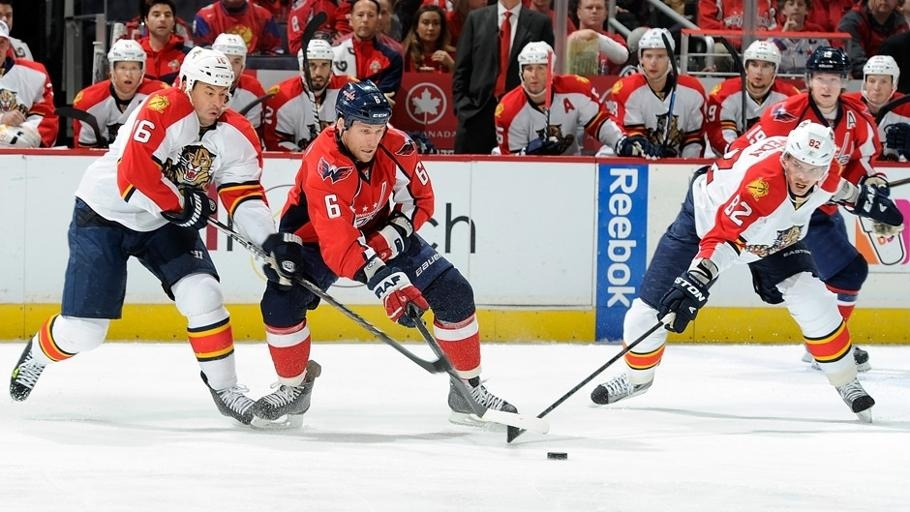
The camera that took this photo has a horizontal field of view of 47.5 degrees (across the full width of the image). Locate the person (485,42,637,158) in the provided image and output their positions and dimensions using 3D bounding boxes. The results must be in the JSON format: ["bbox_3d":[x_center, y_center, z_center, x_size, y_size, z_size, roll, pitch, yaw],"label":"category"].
[{"bbox_3d":[0.836,-1.355,8.965,0.786,0.841,1.316,-20,35,-22],"label":"person"}]

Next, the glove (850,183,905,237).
[{"bbox_3d":[3.122,-0.349,7.640,0.435,0.365,0.183,16,-3,2],"label":"glove"}]

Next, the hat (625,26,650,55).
[{"bbox_3d":[1.665,-1.955,9.474,0.238,0.237,0.190,-5,10,21],"label":"hat"}]

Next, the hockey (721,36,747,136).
[{"bbox_3d":[2.396,-1.526,8.990,0.263,0.897,0.124,5,-20,-6],"label":"hockey"}]

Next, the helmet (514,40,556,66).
[{"bbox_3d":[0.678,-1.702,8.795,0.199,0.233,0.207,4,7,14],"label":"helmet"}]

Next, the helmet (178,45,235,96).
[{"bbox_3d":[-1.644,-1.201,6.783,0.340,0.331,0.265,7,12,30],"label":"helmet"}]

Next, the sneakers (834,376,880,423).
[{"bbox_3d":[2.752,0.996,7.112,0.080,0.183,0.257,-39,7,-5],"label":"sneakers"}]

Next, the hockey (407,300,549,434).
[{"bbox_3d":[0.128,0.802,7.321,0.234,0.434,1.682,8,19,-24],"label":"hockey"}]

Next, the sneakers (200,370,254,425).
[{"bbox_3d":[-1.477,0.961,6.882,0.463,0.181,0.160,38,45,22],"label":"sneakers"}]

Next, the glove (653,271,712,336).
[{"bbox_3d":[1.493,0.296,6.921,0.261,0.453,0.163,38,4,-10],"label":"glove"}]

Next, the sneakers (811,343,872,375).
[{"bbox_3d":[3.045,0.812,8.235,0.214,0.264,0.632,-21,3,3],"label":"sneakers"}]

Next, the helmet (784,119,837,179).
[{"bbox_3d":[2.326,-0.710,6.830,0.273,0.311,0.326,22,8,-3],"label":"helmet"}]

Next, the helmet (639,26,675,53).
[{"bbox_3d":[1.736,-1.838,8.902,0.214,0.245,0.265,0,-16,6],"label":"helmet"}]

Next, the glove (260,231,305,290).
[{"bbox_3d":[-1.120,0.024,6.711,0.252,0.341,0.142,-4,-22,20],"label":"glove"}]

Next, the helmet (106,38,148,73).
[{"bbox_3d":[-2.717,-1.653,8.509,0.211,0.270,0.274,-2,0,-16],"label":"helmet"}]

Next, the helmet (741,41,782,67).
[{"bbox_3d":[2.673,-1.740,9.005,0.227,0.259,0.260,8,10,5],"label":"helmet"}]

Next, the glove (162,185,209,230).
[{"bbox_3d":[-1.780,-0.273,6.909,0.277,0.301,0.229,21,-36,-39],"label":"glove"}]

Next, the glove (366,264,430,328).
[{"bbox_3d":[-0.396,0.282,6.713,0.300,0.418,0.182,-41,3,-14],"label":"glove"}]

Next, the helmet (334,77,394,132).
[{"bbox_3d":[-0.589,-0.979,6.575,0.271,0.316,0.329,-25,31,-36],"label":"helmet"}]

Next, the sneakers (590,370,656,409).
[{"bbox_3d":[1.228,0.944,7.355,0.525,0.185,0.204,-13,-1,-1],"label":"sneakers"}]

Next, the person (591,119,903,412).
[{"bbox_3d":[2.179,0.137,7.702,1.782,1.392,0.955,-12,27,-8],"label":"person"}]

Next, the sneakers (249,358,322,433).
[{"bbox_3d":[-1.099,0.941,6.963,0.209,0.246,0.629,28,16,11],"label":"sneakers"}]

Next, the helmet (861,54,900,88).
[{"bbox_3d":[3.511,-1.512,8.523,0.233,0.284,0.288,3,16,22],"label":"helmet"}]

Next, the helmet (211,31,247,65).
[{"bbox_3d":[-1.911,-1.772,8.769,0.286,0.309,0.325,3,-2,-16],"label":"helmet"}]

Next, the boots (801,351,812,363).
[{"bbox_3d":[2.796,0.807,8.255,0.081,0.072,0.080,2,-4,-5],"label":"boots"}]

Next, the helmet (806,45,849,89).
[{"bbox_3d":[2.770,-1.406,7.693,0.309,0.267,0.271,6,15,19],"label":"helmet"}]
